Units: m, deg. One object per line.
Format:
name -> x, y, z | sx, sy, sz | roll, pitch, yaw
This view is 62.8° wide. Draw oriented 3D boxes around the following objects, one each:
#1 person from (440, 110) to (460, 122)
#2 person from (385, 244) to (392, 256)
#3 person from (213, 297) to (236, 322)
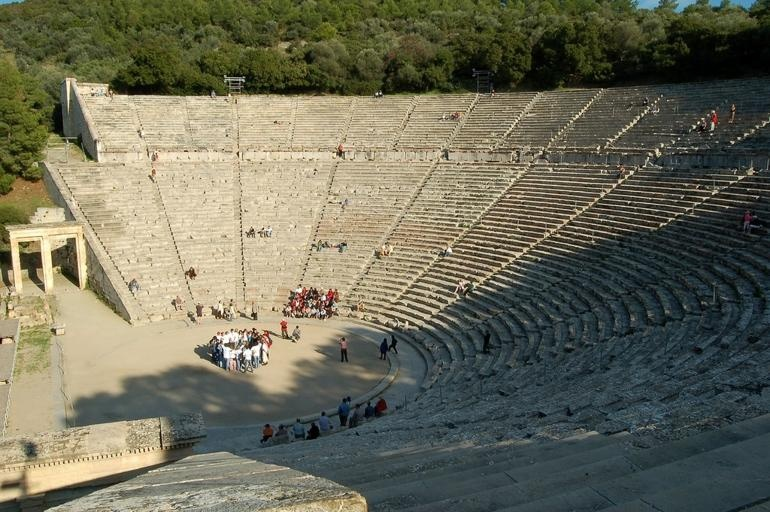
person -> 4.984, -10.519, 47.376 | 1.407, 0.442, 0.850 | 1, 57, 15
person -> 0.198, -0.417, 36.268 | 0.471, 0.351, 0.815 | 9, 42, -5
person -> -8.538, 2.787, 33.205 | 1.079, 0.389, 1.293 | 2, 9, -19
